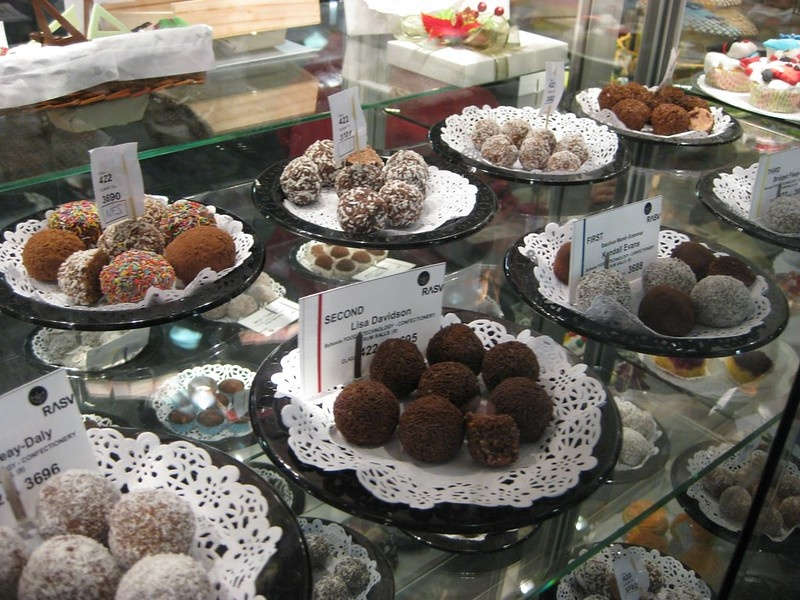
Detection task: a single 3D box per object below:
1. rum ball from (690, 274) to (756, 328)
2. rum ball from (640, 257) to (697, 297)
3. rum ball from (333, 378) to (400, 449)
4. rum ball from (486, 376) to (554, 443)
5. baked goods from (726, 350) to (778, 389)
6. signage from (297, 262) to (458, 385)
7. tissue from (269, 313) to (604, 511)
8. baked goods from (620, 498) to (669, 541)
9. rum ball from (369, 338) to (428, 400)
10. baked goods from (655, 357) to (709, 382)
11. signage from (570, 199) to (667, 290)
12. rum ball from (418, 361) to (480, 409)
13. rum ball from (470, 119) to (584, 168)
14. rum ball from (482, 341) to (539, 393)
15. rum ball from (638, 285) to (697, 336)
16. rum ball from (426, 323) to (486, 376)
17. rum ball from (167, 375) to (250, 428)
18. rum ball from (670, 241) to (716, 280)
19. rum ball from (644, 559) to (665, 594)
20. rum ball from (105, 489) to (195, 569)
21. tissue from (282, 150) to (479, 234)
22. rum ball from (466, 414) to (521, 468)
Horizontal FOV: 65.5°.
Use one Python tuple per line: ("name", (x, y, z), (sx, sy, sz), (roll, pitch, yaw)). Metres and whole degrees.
("rum ball", (0.591, 0.002, 1.197), (0.132, 0.072, 0.109), (-15, 30, -16))
("rum ball", (0.521, -0.050, 1.214), (0.102, 0.044, 0.083), (1, 24, 3))
("rum ball", (-0.075, 0.178, 0.964), (0.117, 0.097, 0.096), (10, 43, -17))
("rum ball", (0.171, 0.163, 0.960), (0.116, 0.058, 0.097), (2, 42, -5))
("baked goods", (0.682, 0.132, 1.213), (0.101, 0.044, 0.078), (-5, 21, -3))
("signage", (-0.038, 0.045, 1.022), (0.283, 0.126, 0.011), (-15, 35, -30))
("tissue", (0.054, 0.140, 0.825), (0.364, 0.042, 0.283), (6, 26, 9))
("baked goods", (0.562, 0.517, 1.453), (0.083, 0.080, 0.060), (-25, 58, 30))
("rum ball", (-0.026, 0.113, 1.049), (0.121, 0.096, 0.092), (6, 54, -8))
("baked goods", (0.545, 0.126, 1.215), (0.083, 0.020, 0.070), (18, 30, 37))
("signage", (0.432, -0.101, 1.220), (0.281, 0.140, 0.009), (-15, 28, -24))
("rum ball", (0.078, 0.130, 0.974), (0.101, 0.050, 0.081), (-5, 1, 14))
("rum ball", (0.290, -0.383, 1.543), (0.280, 0.071, 0.141), (14, 28, 17))
("rum ball", (0.174, 0.104, 1.068), (0.107, 0.076, 0.081), (14, 27, 32))
("rum ball", (0.495, 0.021, 1.144), (0.105, 0.063, 0.100), (1, 41, -1))
("rum ball", (0.096, 0.085, 1.043), (0.120, 0.076, 0.081), (-5, 62, 6))
("rum ball", (-0.333, 0.171, 1.060), (0.090, 0.024, 0.094), (4, 35, -3))
("rum ball", (0.600, -0.089, 1.290), (0.092, 0.028, 0.087), (-3, 39, 2))
("rum ball", (0.603, 0.658, 1.471), (0.059, 0.020, 0.049), (2, 63, -34))
("rum ball", (-0.304, 0.269, 0.754), (0.122, 0.093, 0.089), (5, 75, -17))
("tissue", (0.044, -0.223, 1.361), (0.301, 0.033, 0.275), (15, 29, 28))
("rum ball", (0.131, 0.201, 0.895), (0.085, 0.024, 0.075), (-4, 46, 0))
